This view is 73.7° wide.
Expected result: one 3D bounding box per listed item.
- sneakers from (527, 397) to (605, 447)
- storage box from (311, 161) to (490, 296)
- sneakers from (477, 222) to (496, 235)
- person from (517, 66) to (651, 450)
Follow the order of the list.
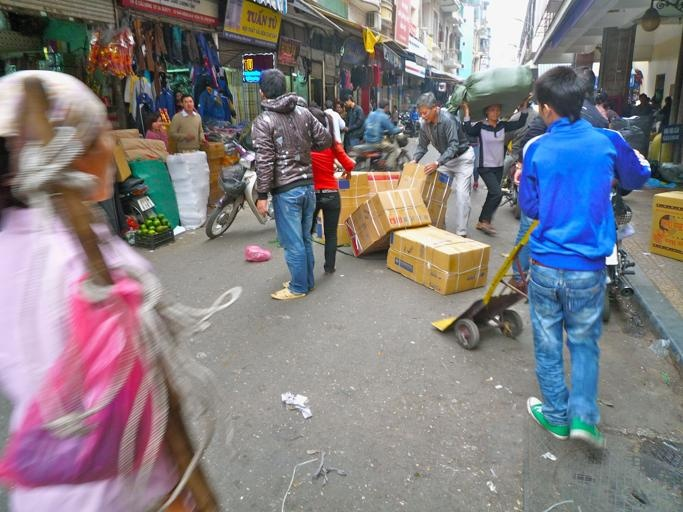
[{"bbox_3d":[1.384,0.988,2.889,0.163,0.204,0.487,-1,19,-17],"label":"sneakers"},{"bbox_3d":[0.887,-0.456,5.829,1.398,0.992,2.280,-14,36,-32],"label":"storage box"},{"bbox_3d":[2.277,-0.435,7.154,0.137,0.148,0.336,17,2,-43],"label":"sneakers"},{"bbox_3d":[1.360,0.015,2.722,0.494,2.130,0.882,-3,21,-1],"label":"person"}]
